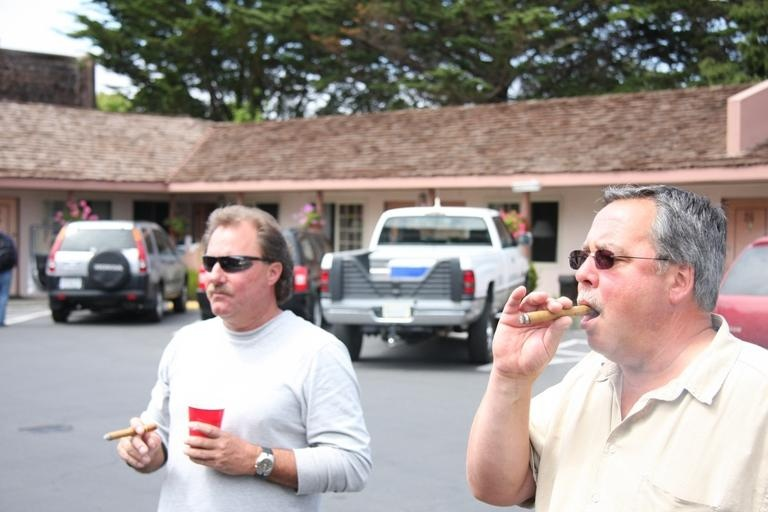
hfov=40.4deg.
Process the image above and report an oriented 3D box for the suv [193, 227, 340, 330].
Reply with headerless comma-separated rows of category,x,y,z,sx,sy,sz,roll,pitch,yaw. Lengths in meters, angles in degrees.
suv,-1.611,0.310,21.160,1.491,1.414,3.132,1,8,12
